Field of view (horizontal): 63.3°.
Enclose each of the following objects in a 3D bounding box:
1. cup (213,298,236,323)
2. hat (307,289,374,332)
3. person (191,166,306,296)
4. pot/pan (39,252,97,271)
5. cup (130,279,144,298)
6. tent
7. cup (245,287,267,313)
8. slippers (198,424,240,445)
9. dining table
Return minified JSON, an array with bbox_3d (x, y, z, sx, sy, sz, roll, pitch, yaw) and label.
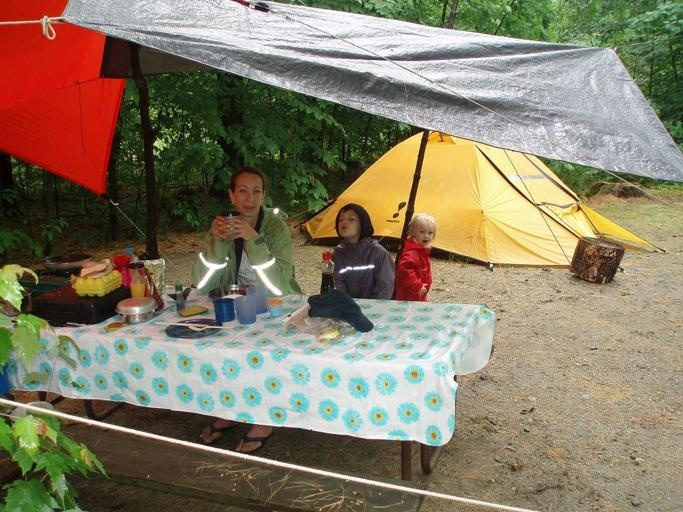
[{"bbox_3d":[-0.708,0.332,3.424,0.161,0.141,0.142,-4,11,-14],"label":"cup"},{"bbox_3d":[-0.018,0.305,3.232,0.367,0.113,0.225,18,24,23],"label":"hat"},{"bbox_3d":[-0.620,-0.151,4.105,0.960,1.158,0.920,0,4,4],"label":"person"},{"bbox_3d":[-2.514,0.052,5.067,0.388,0.143,0.535,-7,19,-25],"label":"pot/pan"},{"bbox_3d":[-1.272,0.210,3.445,0.104,0.088,0.094,-1,4,-20],"label":"cup"},{"bbox_3d":[1.905,-0.888,8.012,4.268,1.664,1.724,7,20,18],"label":"tent"},{"bbox_3d":[-0.516,0.273,3.442,0.184,0.160,0.162,-1,5,-10],"label":"cup"},{"bbox_3d":[-0.837,1.169,3.670,0.098,0.050,0.222,9,9,30],"label":"slippers"},{"bbox_3d":[-0.546,0.617,3.171,2.264,0.370,1.027,4,21,15],"label":"dining table"}]
